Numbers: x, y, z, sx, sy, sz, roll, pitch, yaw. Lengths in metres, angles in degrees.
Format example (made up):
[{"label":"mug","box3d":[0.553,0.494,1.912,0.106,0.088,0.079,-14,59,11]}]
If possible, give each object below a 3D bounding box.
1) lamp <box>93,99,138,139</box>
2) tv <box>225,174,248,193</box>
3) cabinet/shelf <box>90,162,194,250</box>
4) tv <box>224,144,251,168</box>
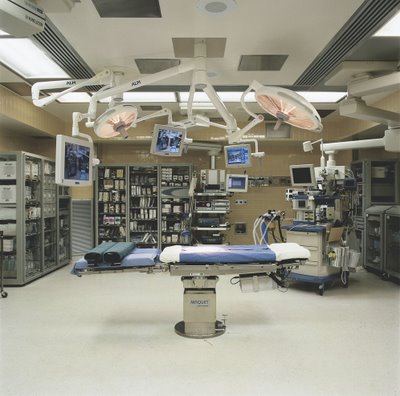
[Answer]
[{"label":"lamp","box3d":[-1.060,-0.966,4.834,0.555,0.284,0.498,-22,-24,-15]},{"label":"tv","box3d":[0.821,-0.326,8.822,0.458,0.395,0.419,0,5,3]},{"label":"cabinet/shelf","box3d":[-1.323,0.199,8.925,2.196,1.892,0.558,-1,6,-2]},{"label":"tv","box3d":[0.732,-0.805,7.569,0.628,0.433,0.299,-1,0,21]}]
